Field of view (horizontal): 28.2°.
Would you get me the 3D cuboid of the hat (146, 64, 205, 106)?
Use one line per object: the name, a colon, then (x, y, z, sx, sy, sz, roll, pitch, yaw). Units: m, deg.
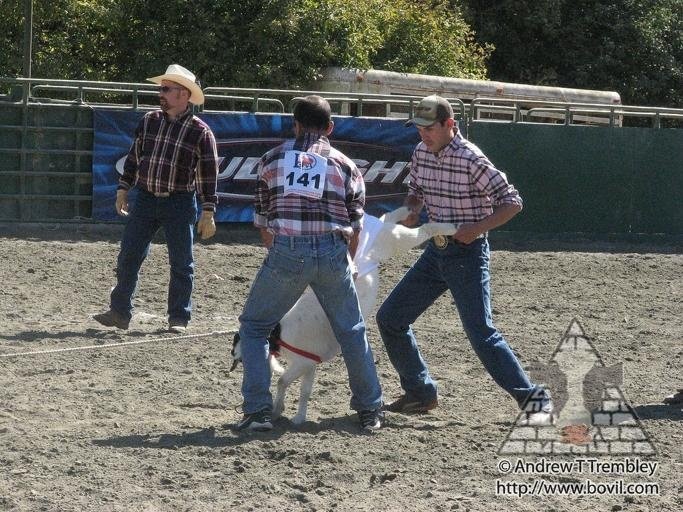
hat: (-2.079, -2.342, 18.426, 0.578, 0.249, 0.669, 17, -9, 24)

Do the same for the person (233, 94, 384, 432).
person: (-0.308, 0.091, 16.254, 1.578, 3.989, 0.371, 1, 5, 0)

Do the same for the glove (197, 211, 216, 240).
glove: (-1.813, -0.432, 18.317, 0.207, 0.388, 0.438, 0, 5, -9)

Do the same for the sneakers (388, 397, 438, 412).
sneakers: (0.888, 1.847, 16.921, 0.662, 0.279, 0.218, 3, -4, -3)

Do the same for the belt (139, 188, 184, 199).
belt: (-2.415, -0.835, 18.337, 0.626, 0.120, 0.183, 1, 5, 0)

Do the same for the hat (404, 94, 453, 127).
hat: (1.065, -1.748, 16.428, 0.516, 0.275, 0.346, -2, 9, -19)
